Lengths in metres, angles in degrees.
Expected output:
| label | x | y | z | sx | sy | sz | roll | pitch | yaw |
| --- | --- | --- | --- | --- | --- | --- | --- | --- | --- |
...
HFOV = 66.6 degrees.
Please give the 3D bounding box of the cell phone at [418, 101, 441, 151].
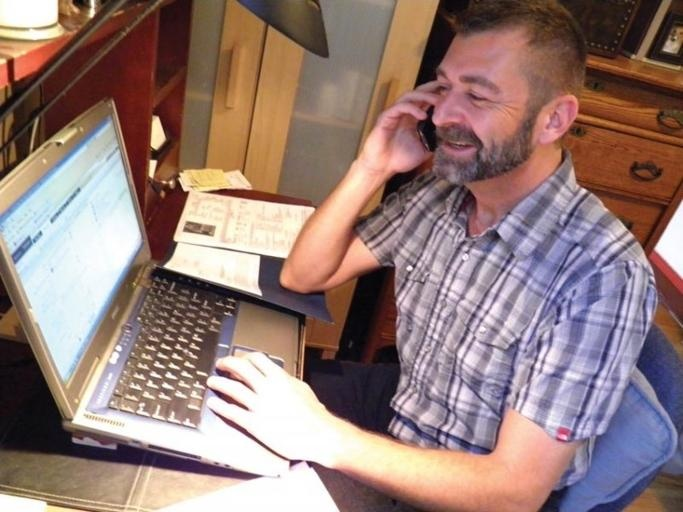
| label | x | y | z | sx | sy | sz | roll | pitch | yaw |
| --- | --- | --- | --- | --- | --- | --- | --- | --- | --- |
| cell phone | 0.246 | -0.354 | 1.436 | 0.028 | 0.110 | 0.081 | 8 | 42 | 31 |
